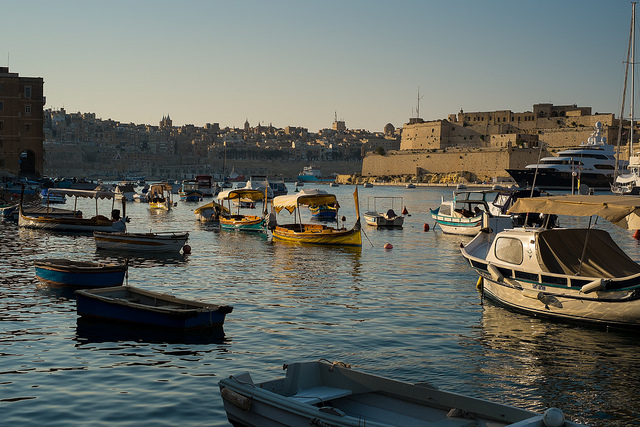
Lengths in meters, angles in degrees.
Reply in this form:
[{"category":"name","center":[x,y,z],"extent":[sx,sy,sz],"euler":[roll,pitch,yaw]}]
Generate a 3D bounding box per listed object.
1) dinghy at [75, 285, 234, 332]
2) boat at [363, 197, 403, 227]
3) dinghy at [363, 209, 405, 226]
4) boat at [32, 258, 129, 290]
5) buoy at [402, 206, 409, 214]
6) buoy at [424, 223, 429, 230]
[{"category":"dinghy","center":[-5.526,3.165,27.246],"extent":[4.270,1.376,2.847],"euler":[0,-5,0]},{"category":"boat","center":[4.557,-0.150,61.388],"extent":[2.773,1.823,5.556],"euler":[0,0,-8]},{"category":"dinghy","center":[4.377,0.282,58.977],"extent":[1.766,1.134,2.499],"euler":[-2,4,-27]},{"category":"boat","center":[-9.385,2.304,32.396],"extent":[3.882,1.086,2.024],"euler":[4,1,28]},{"category":"buoy","center":[7.029,-0.159,69.345],"extent":[0.514,0.489,0.510],"euler":[-13,14,-41]},{"category":"buoy","center":[7.155,0.922,56.216],"extent":[0.410,0.341,0.380],"euler":[1,19,1]}]
